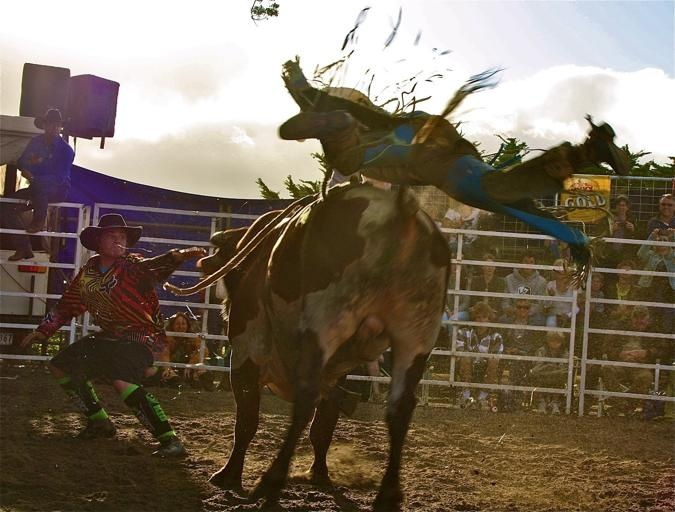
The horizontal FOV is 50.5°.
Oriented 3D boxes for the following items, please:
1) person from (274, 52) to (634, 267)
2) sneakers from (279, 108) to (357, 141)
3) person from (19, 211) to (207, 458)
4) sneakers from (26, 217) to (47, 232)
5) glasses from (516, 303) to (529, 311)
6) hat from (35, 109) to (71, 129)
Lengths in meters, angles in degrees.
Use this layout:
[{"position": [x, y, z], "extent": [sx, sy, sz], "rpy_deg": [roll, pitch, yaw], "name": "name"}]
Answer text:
[{"position": [0.802, -0.580, 5.133], "extent": [2.449, 1.150, 1.133], "rpy_deg": [1, 2, 18], "name": "person"}, {"position": [-0.177, -0.880, 4.855], "extent": [0.589, 0.202, 0.291], "rpy_deg": [-4, -21, -12], "name": "sneakers"}, {"position": [-2.068, 0.646, 6.528], "extent": [0.893, 1.812, 1.528], "rpy_deg": [4, 2, -42], "name": "person"}, {"position": [-4.020, -0.403, 9.567], "extent": [0.139, 0.126, 0.321], "rpy_deg": [12, -4, -9], "name": "sneakers"}, {"position": [2.430, 0.664, 9.384], "extent": [0.109, 0.115, 0.049], "rpy_deg": [3, -1, 17], "name": "glasses"}, {"position": [-4.127, -2.003, 10.323], "extent": [0.526, 0.173, 0.506], "rpy_deg": [-6, 8, -44], "name": "hat"}]
